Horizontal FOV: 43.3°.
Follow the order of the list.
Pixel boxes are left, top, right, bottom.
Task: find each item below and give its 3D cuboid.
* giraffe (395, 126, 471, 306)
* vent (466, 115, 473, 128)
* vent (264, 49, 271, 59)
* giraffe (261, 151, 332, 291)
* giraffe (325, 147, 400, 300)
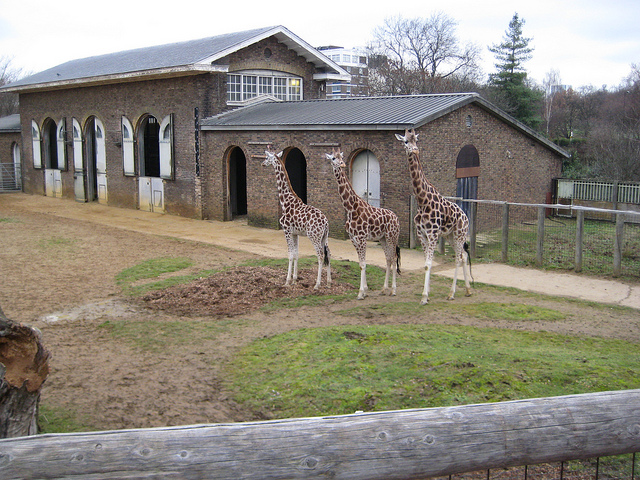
[{"bbox_3d":[2.523,-0.466,17.332,0.937,3.698,2.126,-4,-3,31],"label":"giraffe"},{"bbox_3d":[4.607,-3.599,24.766,0.069,0.358,0.378,-4,-3,32],"label":"vent"},{"bbox_3d":[-1.991,-6.994,30.493,0.074,0.325,0.372,-4,-3,34],"label":"vent"},{"bbox_3d":[-0.443,-0.436,17.928,1.409,3.161,0.695,-4,-4,36],"label":"giraffe"},{"bbox_3d":[0.978,-0.285,17.345,1.499,3.126,0.601,-2,-3,-12],"label":"giraffe"}]
